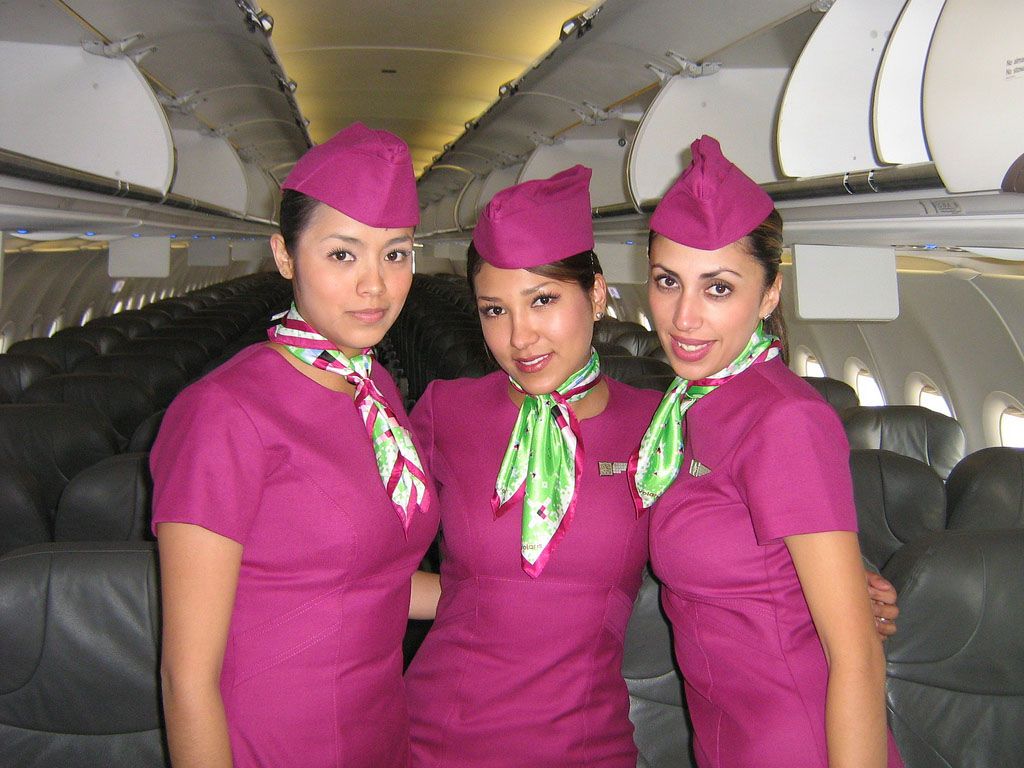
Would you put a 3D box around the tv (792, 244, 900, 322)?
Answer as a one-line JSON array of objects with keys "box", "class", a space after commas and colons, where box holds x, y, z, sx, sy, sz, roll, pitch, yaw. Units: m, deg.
[{"box": [1.594, -0.473, 3.339, 0.401, 0.413, 0.097, 1, 3, 1], "class": "tv"}]

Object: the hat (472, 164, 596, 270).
[{"box": [0.068, -0.496, 2.103, 0.359, 0.296, 0.217, 1, 0, -6], "class": "hat"}]

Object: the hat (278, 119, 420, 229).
[{"box": [-0.414, -0.525, 1.831, 0.308, 0.172, 0.250, 11, 12, 27], "class": "hat"}]

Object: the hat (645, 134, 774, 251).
[{"box": [0.518, -0.466, 1.871, 0.273, 0.354, 0.148, -4, -21, 13], "class": "hat"}]

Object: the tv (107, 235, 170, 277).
[{"box": [-3.541, -1.227, 6.824, 0.380, 0.290, 0.053, 1, -4, -9], "class": "tv"}]
